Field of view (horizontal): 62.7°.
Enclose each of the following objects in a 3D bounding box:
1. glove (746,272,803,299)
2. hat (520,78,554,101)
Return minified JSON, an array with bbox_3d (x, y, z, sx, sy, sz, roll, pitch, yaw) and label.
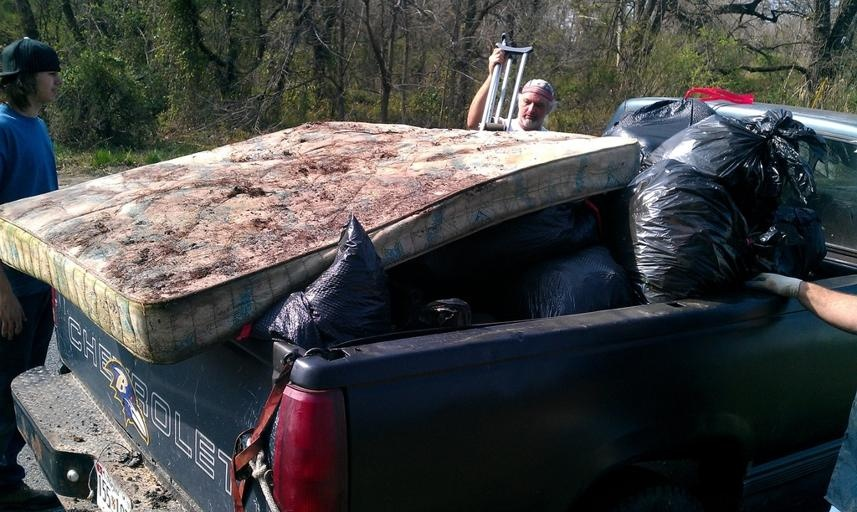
[{"bbox_3d":[2.100,0.145,4.223,0.149,0.070,0.263,15,2,-21],"label":"glove"},{"bbox_3d":[1.023,-1.475,6.423,0.241,0.152,0.354,16,14,18],"label":"hat"}]
